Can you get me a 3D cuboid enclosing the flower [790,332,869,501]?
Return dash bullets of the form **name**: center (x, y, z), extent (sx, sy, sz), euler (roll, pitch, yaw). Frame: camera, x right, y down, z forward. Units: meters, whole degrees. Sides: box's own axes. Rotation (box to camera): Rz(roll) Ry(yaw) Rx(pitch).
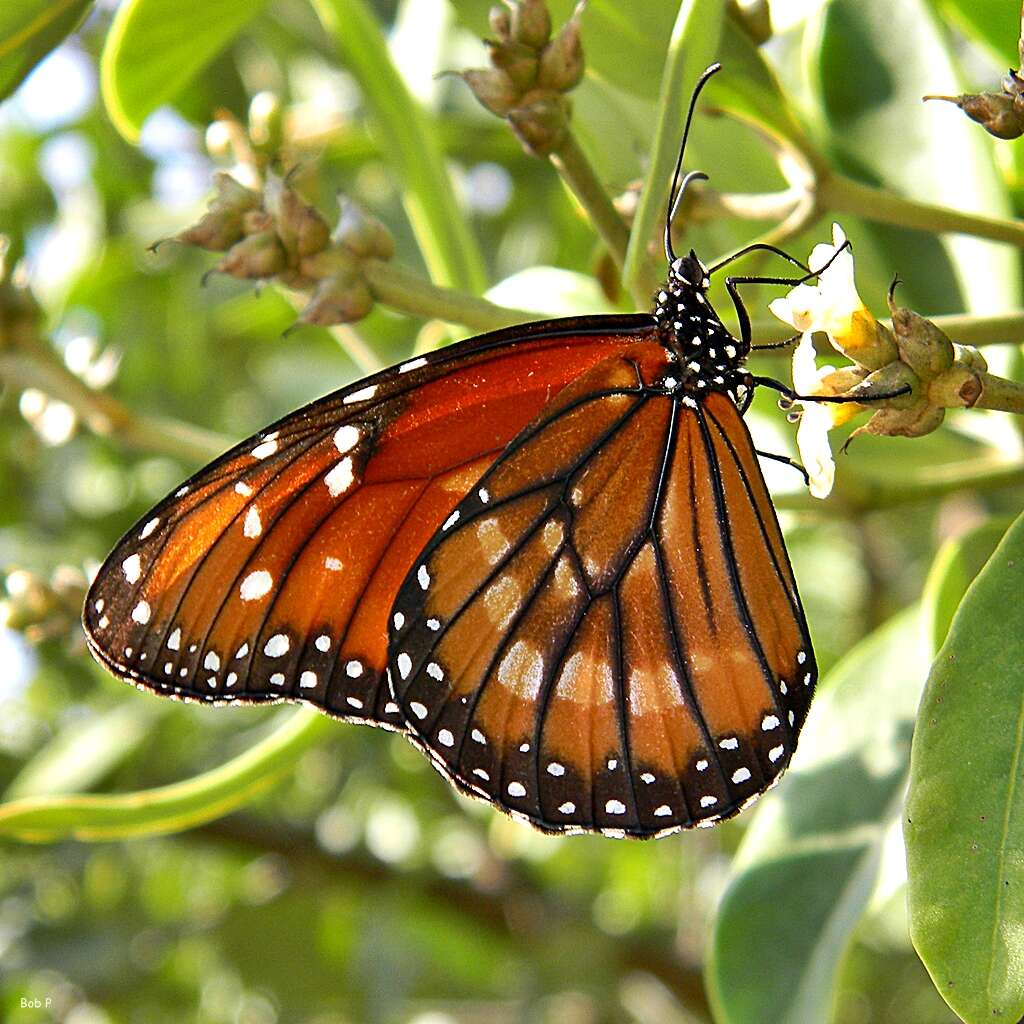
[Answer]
- **flower**: center (0.295, -0.095, 1.311), extent (0.056, 0.110, 0.139), euler (-8, -64, -1)
